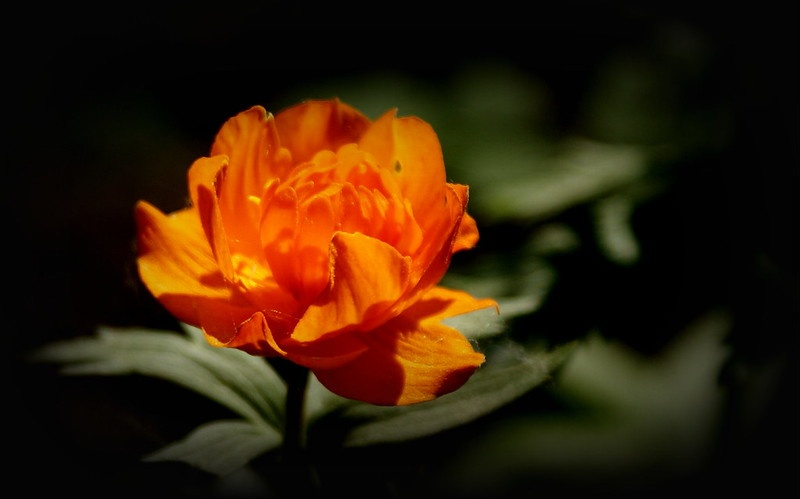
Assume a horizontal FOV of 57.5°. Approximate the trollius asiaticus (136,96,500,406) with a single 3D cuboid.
[{"bbox_3d":[-0.085,0.004,0.722,0.319,0.215,0.286,-16,38,-19],"label":"trollius asiaticus"}]
